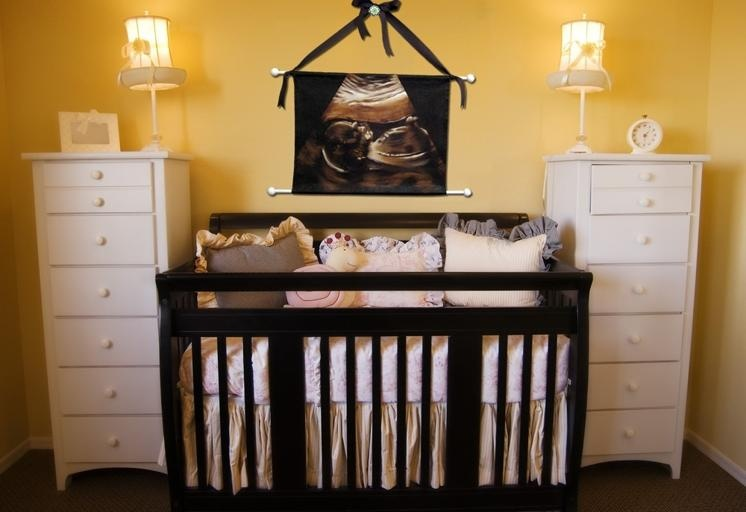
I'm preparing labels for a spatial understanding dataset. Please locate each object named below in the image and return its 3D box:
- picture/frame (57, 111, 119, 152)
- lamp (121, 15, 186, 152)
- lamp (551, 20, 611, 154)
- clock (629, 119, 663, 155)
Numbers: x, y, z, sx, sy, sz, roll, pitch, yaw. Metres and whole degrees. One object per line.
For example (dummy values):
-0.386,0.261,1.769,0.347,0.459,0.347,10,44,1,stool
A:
-1.450,-0.630,3.621,0.234,0.192,0.023,-2,7,-11,picture/frame
-1.141,-0.889,3.671,0.319,0.665,0.429,-9,15,-38,lamp
1.071,-0.879,3.676,0.301,0.672,0.508,4,12,17,lamp
1.387,-0.606,3.597,0.165,0.166,0.230,3,12,13,clock
